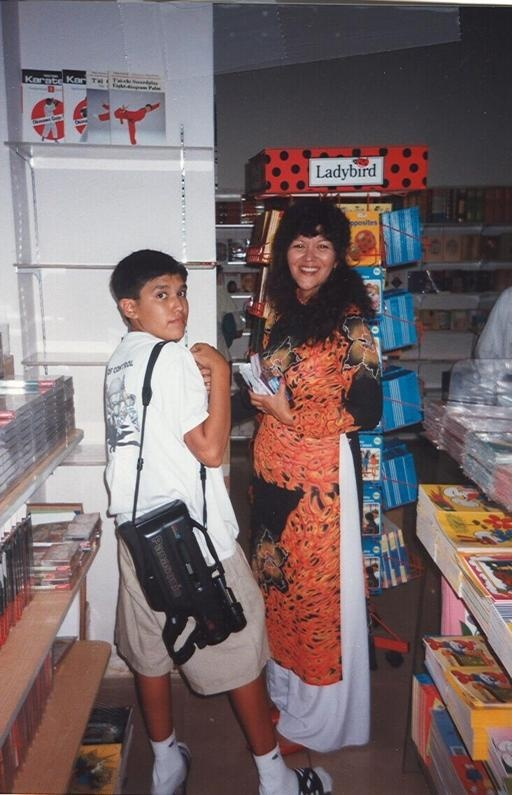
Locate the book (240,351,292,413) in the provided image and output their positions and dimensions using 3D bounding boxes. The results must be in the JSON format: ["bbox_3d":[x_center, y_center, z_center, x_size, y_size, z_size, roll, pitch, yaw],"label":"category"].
[{"bbox_3d":[0.015,-0.041,1.709,0.052,0.146,0.122,-26,22,53],"label":"book"}]

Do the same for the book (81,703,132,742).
[{"bbox_3d":[-0.461,1.017,1.809,0.103,0.026,0.113,1,3,1],"label":"book"}]
